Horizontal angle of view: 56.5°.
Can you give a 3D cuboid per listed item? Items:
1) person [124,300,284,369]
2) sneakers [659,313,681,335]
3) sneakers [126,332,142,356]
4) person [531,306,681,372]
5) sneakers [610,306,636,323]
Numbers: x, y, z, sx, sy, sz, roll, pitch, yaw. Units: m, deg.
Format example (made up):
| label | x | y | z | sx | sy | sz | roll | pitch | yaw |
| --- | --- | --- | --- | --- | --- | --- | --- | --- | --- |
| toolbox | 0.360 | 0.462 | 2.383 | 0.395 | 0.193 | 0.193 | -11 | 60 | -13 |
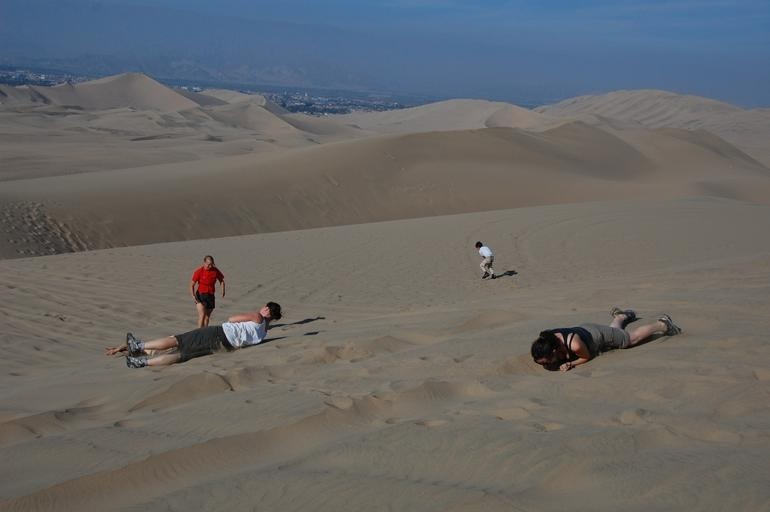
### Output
| label | x | y | z | sx | sy | sz | roll | pitch | yaw |
| --- | --- | --- | --- | --- | --- | --- | --- | --- | --- |
| person | -3.021 | 1.310 | 11.682 | 2.638 | 0.791 | 0.597 | -5 | 21 | -24 |
| sneakers | 4.181 | 0.991 | 10.458 | 0.181 | 0.175 | 0.439 | -16 | 39 | -17 |
| sneakers | -3.848 | 1.312 | 10.861 | 0.217 | 0.329 | 0.258 | -10 | 22 | -19 |
| person | 2.941 | 1.202 | 10.246 | 1.631 | 0.407 | 0.993 | -19 | 6 | -19 |
| sneakers | 3.598 | 0.936 | 10.959 | 0.209 | 0.225 | 0.598 | 6 | 12 | 41 |
